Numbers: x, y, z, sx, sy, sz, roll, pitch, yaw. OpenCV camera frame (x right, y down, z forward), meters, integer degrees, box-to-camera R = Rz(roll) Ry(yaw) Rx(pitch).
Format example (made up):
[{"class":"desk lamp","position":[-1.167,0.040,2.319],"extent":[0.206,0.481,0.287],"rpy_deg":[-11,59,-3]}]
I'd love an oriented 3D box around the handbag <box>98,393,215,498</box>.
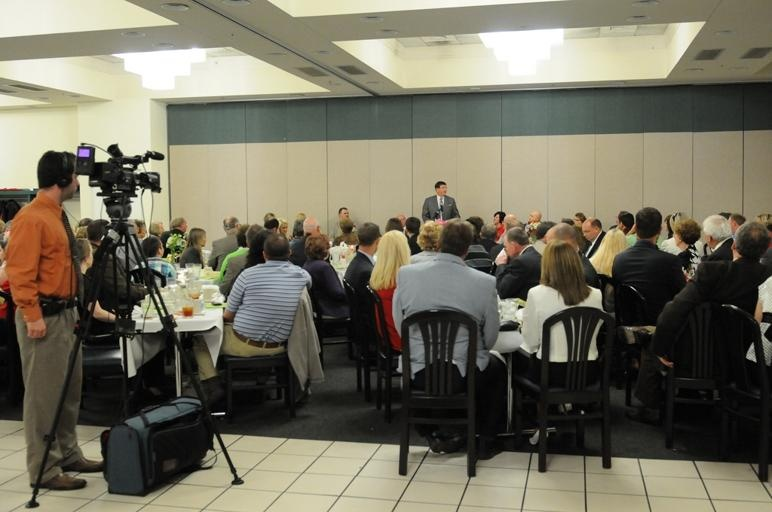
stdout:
[{"class":"handbag","position":[-1.754,1.456,4.870],"extent":[0.496,0.608,0.857],"rpy_deg":[-4,-2,22]}]

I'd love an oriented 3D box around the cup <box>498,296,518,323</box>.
[{"class":"cup","position":[1.119,0.498,5.606],"extent":[0.193,0.247,0.223],"rpy_deg":[0,-3,1]}]

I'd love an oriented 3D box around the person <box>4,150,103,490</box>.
[{"class":"person","position":[-2.466,0.491,4.596],"extent":[0.534,2.480,0.580],"rpy_deg":[-7,11,-34]}]

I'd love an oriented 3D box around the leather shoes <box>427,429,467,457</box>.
[{"class":"leather shoes","position":[0.503,1.531,5.131],"extent":[0.330,0.127,0.232],"rpy_deg":[-5,11,-23]}]

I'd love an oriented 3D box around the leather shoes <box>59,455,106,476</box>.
[{"class":"leather shoes","position":[-2.378,1.608,4.864],"extent":[0.382,0.178,0.135],"rpy_deg":[-1,1,-10]}]
